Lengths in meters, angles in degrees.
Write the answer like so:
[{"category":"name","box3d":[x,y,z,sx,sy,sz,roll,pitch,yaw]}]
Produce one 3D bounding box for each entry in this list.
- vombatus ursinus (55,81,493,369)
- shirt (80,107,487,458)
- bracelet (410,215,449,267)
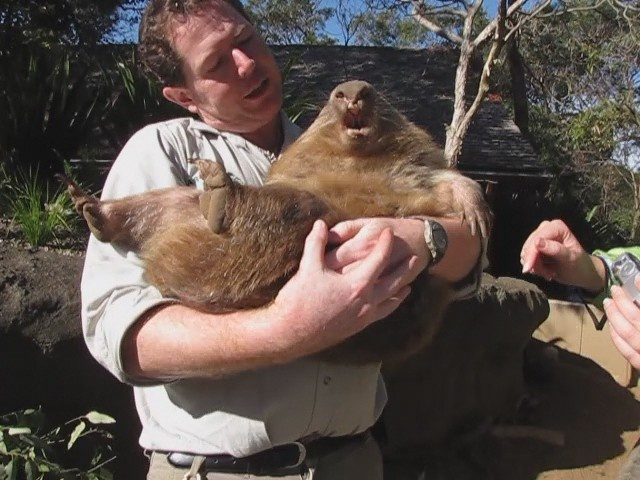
[{"category":"vombatus ursinus","box3d":[-0.324,-0.050,6.438,2.988,2.504,1.464,-16,36,32]},{"category":"shirt","box3d":[-0.740,0.393,6.166,2.336,2.617,1.019,3,10,4]},{"category":"bracelet","box3d":[0.914,0.003,6.146,0.228,0.336,0.333,0,32,-25]}]
